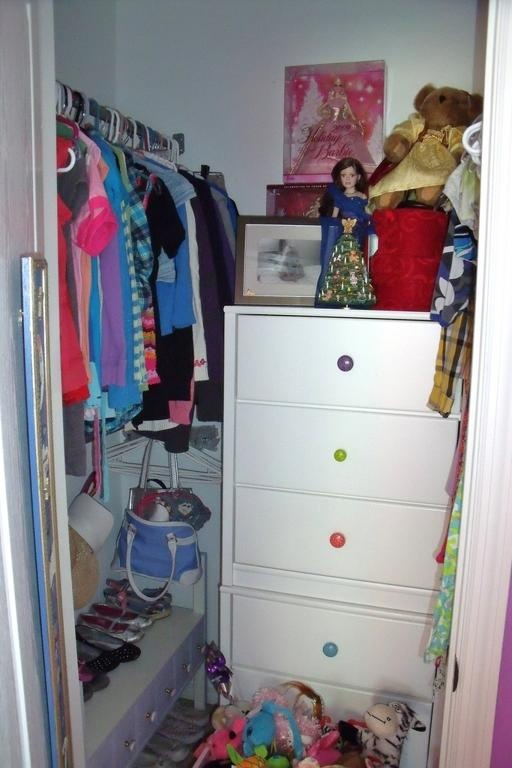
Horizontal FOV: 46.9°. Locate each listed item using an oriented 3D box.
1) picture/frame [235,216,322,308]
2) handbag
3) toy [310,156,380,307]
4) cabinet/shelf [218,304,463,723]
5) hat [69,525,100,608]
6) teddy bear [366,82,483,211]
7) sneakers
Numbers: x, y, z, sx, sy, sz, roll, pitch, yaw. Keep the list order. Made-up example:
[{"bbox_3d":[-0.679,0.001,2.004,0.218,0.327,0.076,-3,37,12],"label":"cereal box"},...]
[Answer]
[{"bbox_3d":[0.069,-0.319,1.539,0.222,0.292,0.027,0,2,7],"label":"picture/frame"},{"bbox_3d":[-0.291,0.491,1.953,0.316,0.332,0.209,5,-7,14],"label":"handbag"},{"bbox_3d":[0.237,-0.400,1.550,0.147,0.378,0.339,2,13,6],"label":"toy"},{"bbox_3d":[0.234,0.388,1.718,0.589,1.278,0.417,3,20,6],"label":"cabinet/shelf"},{"bbox_3d":[-0.434,0.488,1.511,0.067,0.227,0.146,-4,13,-18],"label":"hat"},{"bbox_3d":[0.459,-0.604,1.506,0.188,0.363,0.108,19,-15,25],"label":"teddy bear"},{"bbox_3d":[-0.446,0.841,1.874,0.281,0.094,0.210,-1,10,32],"label":"sneakers"}]
